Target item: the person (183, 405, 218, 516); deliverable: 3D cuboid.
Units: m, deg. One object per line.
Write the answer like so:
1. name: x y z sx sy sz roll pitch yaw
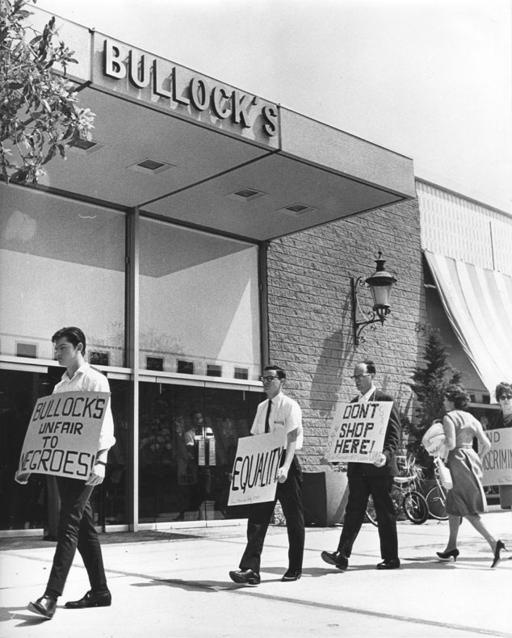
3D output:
1. person: -0.806 2.104 11.821 0.205 1.460 0.631 -1 -7 33

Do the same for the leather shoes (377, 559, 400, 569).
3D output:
1. leather shoes: 1.073 1.992 6.676 0.195 0.086 0.073 5 -25 -4

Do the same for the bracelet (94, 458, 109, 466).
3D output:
1. bracelet: -0.936 0.869 4.954 0.059 0.047 0.068 8 -3 0

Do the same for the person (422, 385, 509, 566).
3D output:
1. person: 2.147 1.581 8.473 0.542 1.668 3.702 2 -7 13

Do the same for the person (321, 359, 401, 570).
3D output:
1. person: 0.908 1.205 6.813 0.690 1.738 0.480 4 -6 -8

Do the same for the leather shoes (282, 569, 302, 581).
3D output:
1. leather shoes: 0.260 1.892 6.059 0.139 0.081 0.164 4 -7 0

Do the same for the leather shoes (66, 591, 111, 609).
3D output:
1. leather shoes: -1.006 1.724 4.997 0.277 0.131 0.108 6 -22 -9

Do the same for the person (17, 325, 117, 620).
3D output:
1. person: -1.055 0.902 5.005 0.486 1.726 0.790 5 -6 -14

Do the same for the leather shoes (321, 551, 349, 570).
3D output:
1. leather shoes: 0.619 1.932 6.531 0.216 0.151 0.132 5 -6 -8

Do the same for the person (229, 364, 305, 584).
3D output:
1. person: 0.119 1.146 6.090 0.507 1.606 0.722 3 -6 4

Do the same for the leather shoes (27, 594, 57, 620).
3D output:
1. leather shoes: -1.176 1.593 4.542 0.082 0.090 0.174 -38 -22 -9

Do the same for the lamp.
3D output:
1. lamp: 2.002 -0.291 13.932 0.771 1.475 0.573 -10 -19 32
